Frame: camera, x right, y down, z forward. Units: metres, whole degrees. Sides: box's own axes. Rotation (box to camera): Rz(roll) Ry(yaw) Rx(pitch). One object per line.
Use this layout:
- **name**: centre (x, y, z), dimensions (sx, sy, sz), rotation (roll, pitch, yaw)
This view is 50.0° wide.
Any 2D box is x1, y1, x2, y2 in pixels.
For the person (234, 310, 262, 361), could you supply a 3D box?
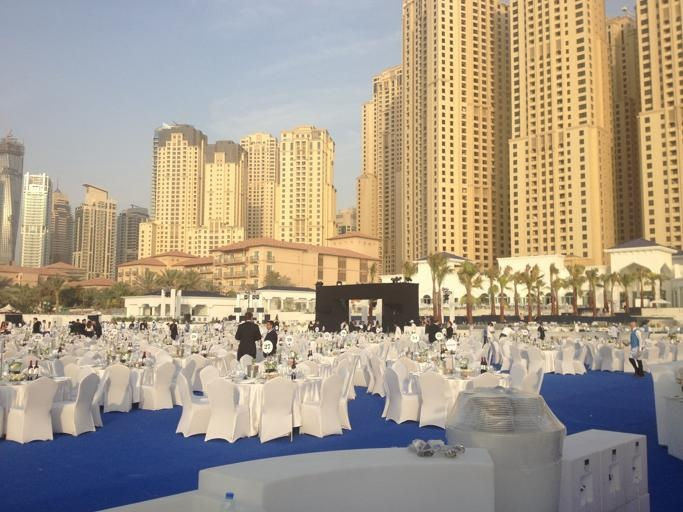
- **person**: centre (-2.372, 2.250, 18.452), dimensions (0.583, 1.787, 0.580), rotation (4, 16, -9)
